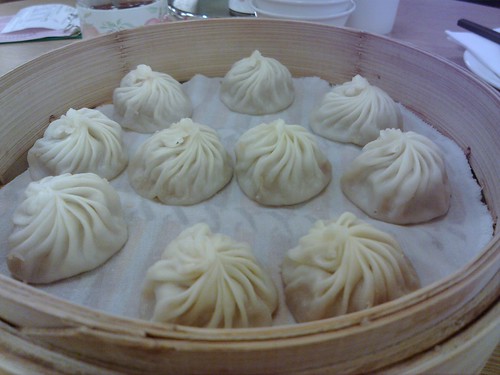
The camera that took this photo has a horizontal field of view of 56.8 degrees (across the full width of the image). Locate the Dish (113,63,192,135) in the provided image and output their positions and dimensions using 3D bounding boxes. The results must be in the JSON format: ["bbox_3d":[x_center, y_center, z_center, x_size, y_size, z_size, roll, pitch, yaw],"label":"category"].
[{"bbox_3d":[-0.588,-0.452,2.838,0.397,0.234,0.426,19,57,5],"label":"Dish"}]

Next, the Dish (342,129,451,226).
[{"bbox_3d":[0.721,-0.069,2.389,0.473,0.257,0.480,-31,58,-16],"label":"Dish"}]
